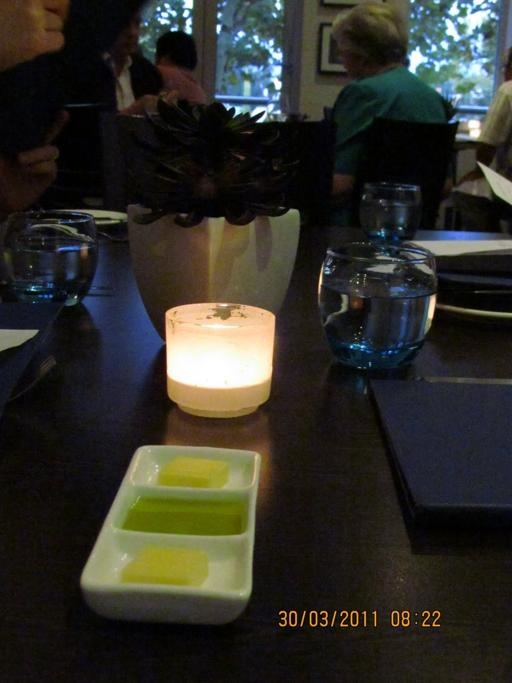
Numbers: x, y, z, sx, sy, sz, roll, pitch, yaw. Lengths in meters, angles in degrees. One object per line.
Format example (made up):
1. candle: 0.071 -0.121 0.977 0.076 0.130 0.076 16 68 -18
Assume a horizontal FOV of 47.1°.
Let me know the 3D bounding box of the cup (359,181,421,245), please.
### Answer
1. cup: 0.225 -0.228 1.055 0.112 0.105 0.108 1 10 0

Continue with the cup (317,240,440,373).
1. cup: 0.097 -0.035 0.528 0.103 0.100 0.105 0 11 0

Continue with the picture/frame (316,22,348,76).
1. picture/frame: 0.661 -2.493 4.944 0.332 0.369 0.035 -24 37 -35
